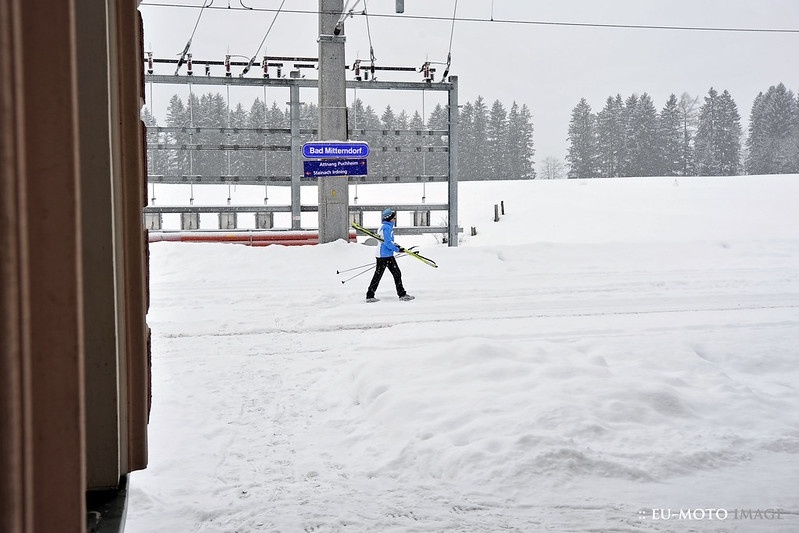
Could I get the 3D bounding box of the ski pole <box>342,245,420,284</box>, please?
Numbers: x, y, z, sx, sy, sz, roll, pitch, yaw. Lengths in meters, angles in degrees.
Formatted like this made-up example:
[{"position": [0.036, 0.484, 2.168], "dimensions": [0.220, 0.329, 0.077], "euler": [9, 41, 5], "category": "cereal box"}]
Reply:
[{"position": [-0.591, -0.073, 30.323], "dimensions": [2.014, 0.221, 0.500], "euler": [-15, -1, 3], "category": "ski pole"}]
